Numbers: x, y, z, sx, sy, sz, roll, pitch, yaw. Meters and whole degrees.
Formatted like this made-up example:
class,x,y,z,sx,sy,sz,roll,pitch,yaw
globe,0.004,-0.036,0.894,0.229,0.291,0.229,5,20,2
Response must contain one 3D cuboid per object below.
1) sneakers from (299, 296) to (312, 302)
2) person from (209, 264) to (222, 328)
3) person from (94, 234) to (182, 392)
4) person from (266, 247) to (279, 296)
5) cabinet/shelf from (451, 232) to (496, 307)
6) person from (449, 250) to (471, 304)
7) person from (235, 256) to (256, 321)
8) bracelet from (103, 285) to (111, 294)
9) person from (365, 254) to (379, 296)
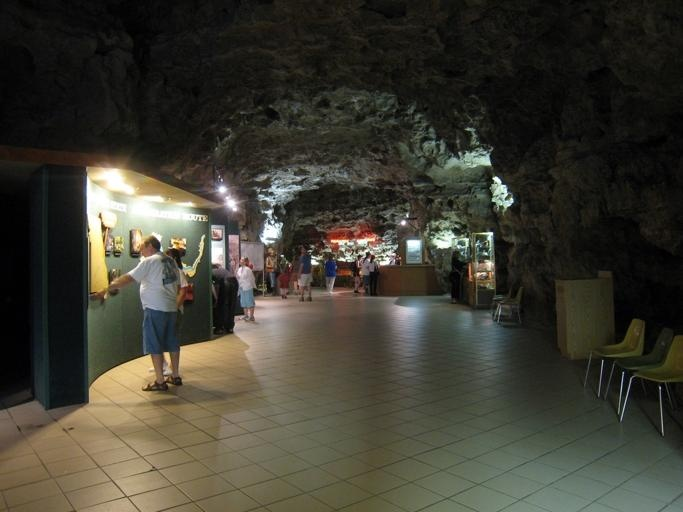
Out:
class,x,y,z,sx,sy,sz,roll,pitch,yaw
sneakers,-1.505,1.857,18.695,0.654,0.262,0.236,2,-2,-16
person,-3.061,1.054,10.569,0.205,1.576,0.380,0,-1,-41
person,-2.629,0.776,5.957,0.835,2.130,0.412,0,0,-21
person,-3.755,0.820,23.159,0.638,2.289,1.516,0,0,-8
cabinet/shelf,4.814,0.577,15.704,0.959,2.989,2.814,-1,2,-7
person,4.699,0.772,17.370,0.979,2.068,0.994,-2,14,14
person,-2.741,0.960,12.454,0.486,1.814,1.544,0,0,-12
bracelet,-3.047,0.422,5.663,0.097,0.096,0.030,-18,37,1
person,1.546,0.914,21.662,0.642,2.024,1.104,0,0,3
